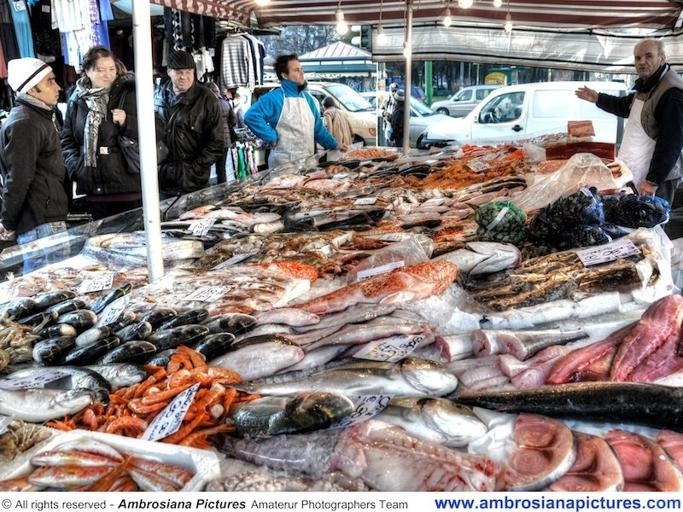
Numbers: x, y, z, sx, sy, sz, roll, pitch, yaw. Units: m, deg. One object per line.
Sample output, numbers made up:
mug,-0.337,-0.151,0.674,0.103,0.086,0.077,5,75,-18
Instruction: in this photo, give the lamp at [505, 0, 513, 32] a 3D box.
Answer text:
lamp,2.109,-3.025,5.936,0.100,0.338,0.307,8,20,17

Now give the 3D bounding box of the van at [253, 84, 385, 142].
van,0.028,-3.397,11.857,3.717,1.556,1.994,7,26,20

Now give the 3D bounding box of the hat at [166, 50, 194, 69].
hat,-1.376,-1.701,4.080,0.173,0.105,0.225,-10,32,-17

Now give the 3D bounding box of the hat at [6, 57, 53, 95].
hat,-2.265,-1.353,3.516,0.339,0.221,0.278,-16,29,-6

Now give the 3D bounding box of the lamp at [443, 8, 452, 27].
lamp,1.368,-3.114,6.119,0.125,0.224,0.383,5,18,9

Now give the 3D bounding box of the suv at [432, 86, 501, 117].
suv,3.682,-4.724,14.299,2.367,0.947,1.215,4,17,5
